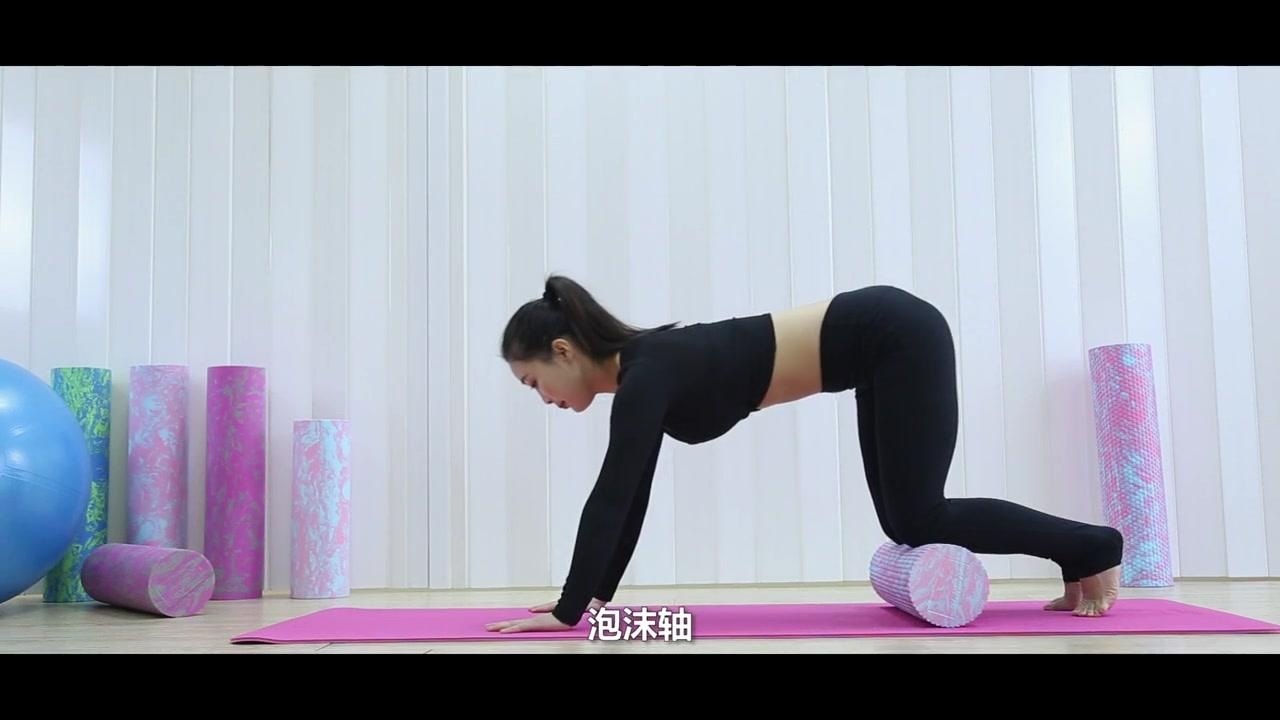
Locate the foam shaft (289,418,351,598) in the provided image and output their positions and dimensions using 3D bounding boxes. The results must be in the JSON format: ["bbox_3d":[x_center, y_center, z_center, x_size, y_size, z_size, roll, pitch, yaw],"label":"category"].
[{"bbox_3d":[-1.533,0.734,5.729,0.286,0.857,0.189,3,3,-16],"label":"foam shaft"}]

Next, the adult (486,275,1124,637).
[{"bbox_3d":[0.660,0.391,5.028,2.568,1.259,0.943,1,-6,9],"label":"adult"}]

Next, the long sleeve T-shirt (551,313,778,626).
[{"bbox_3d":[0.121,0.531,5.390,1.322,1.450,0.925,-5,-18,6],"label":"long sleeve T-shirt"}]

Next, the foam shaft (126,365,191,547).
[{"bbox_3d":[-2.330,0.474,5.755,0.288,0.877,0.231,3,3,-21],"label":"foam shaft"}]

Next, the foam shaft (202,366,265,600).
[{"bbox_3d":[-1.954,0.600,5.746,0.286,1.118,0.275,3,3,-21],"label":"foam shaft"}]

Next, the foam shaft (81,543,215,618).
[{"bbox_3d":[-2.244,1.005,5.421,0.628,0.299,0.249,5,3,33],"label":"foam shaft"}]

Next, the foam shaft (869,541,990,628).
[{"bbox_3d":[1.199,0.918,4.916,0.344,0.311,0.482,16,-4,-13],"label":"foam shaft"}]
